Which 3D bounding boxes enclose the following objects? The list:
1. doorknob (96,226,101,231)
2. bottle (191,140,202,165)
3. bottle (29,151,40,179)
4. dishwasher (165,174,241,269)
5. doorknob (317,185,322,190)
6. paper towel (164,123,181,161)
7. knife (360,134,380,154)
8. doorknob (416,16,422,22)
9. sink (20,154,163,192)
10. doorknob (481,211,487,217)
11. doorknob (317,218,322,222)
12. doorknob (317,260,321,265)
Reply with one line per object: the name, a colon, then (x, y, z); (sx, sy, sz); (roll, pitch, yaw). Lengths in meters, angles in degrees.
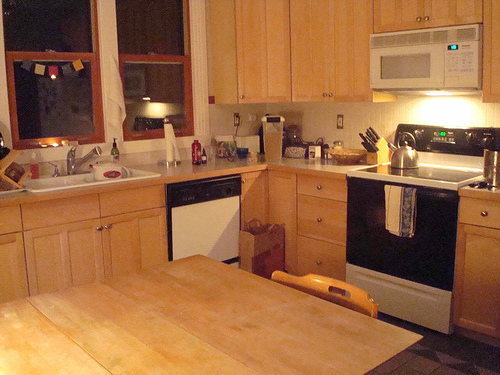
doorknob: (-1.117, 0.302, 2.893); (0.031, 0.038, 0.018); (-7, 13, -27)
bottle: (-0.511, -0.339, 3.763); (0.090, 0.218, 0.130); (-2, 12, -8)
bottle: (-1.742, -0.184, 3.170); (0.068, 0.201, 0.184); (-7, 14, -28)
dishwasher: (-0.374, 0.343, 3.436); (0.749, 0.864, 0.076); (-9, 14, -35)
doorknob: (0.595, -0.001, 3.365); (0.042, 0.047, 0.016); (8, 15, 36)
paper towel: (-0.746, -0.437, 3.748); (0.123, 0.346, 0.193); (-3, 12, -12)
knife: (1.061, -0.391, 3.452); (0.046, 0.222, 0.072); (-43, -15, 12)
doorknob: (1.303, -1.304, 3.031); (0.041, 0.039, 0.024); (9, 15, 38)
sink: (-1.322, -0.124, 3.170); (0.930, 0.217, 0.788); (-8, 14, -29)
doorknob: (1.529, 0.171, 2.560); (0.027, 0.020, 0.028); (4, 16, 21)
doorknob: (0.603, 0.280, 3.406); (0.040, 0.036, 0.015); (4, 13, 23)
doorknob: (0.606, 0.651, 3.469); (0.031, 0.056, 0.032); (-15, 22, -29)
